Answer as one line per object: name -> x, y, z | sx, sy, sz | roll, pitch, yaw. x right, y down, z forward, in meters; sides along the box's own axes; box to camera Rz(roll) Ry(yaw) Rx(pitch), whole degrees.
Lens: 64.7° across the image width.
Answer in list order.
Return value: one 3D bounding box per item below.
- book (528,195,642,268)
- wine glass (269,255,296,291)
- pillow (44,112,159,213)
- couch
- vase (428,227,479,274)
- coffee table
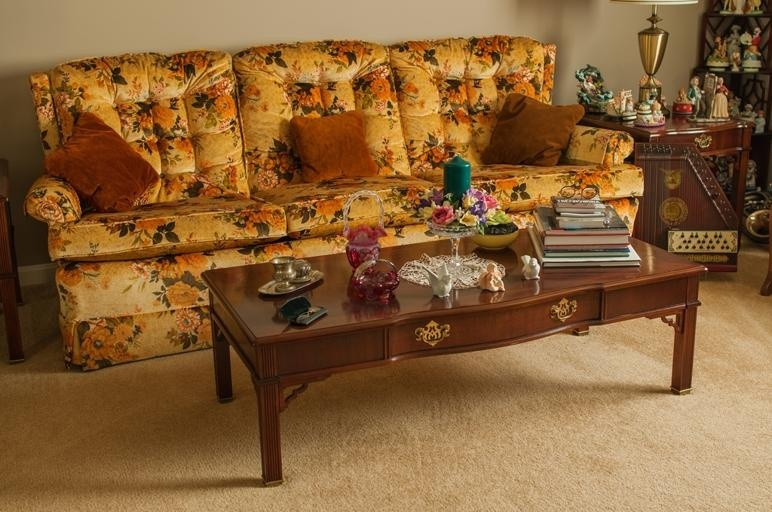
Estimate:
book -> 0.823, -0.086, 2.500 | 0.360, 0.135, 0.330 | 0, 20, 2
wine glass -> -0.394, 0.067, 2.342 | 0.128, 0.125, 0.120 | 0, 14, 4
pillow -> -1.470, -0.484, 3.114 | 0.394, 0.463, 0.387 | 4, 22, 18
couch -> -0.234, -0.478, 3.611 | 3.238, 1.295, 1.013 | -9, 35, -19
vase -> 0.288, -0.049, 2.507 | 0.231, 0.211, 0.214 | -2, 17, 2
coffee table -> 0.263, 0.344, 2.510 | 1.917, 0.607, 0.602 | -8, 21, -14
